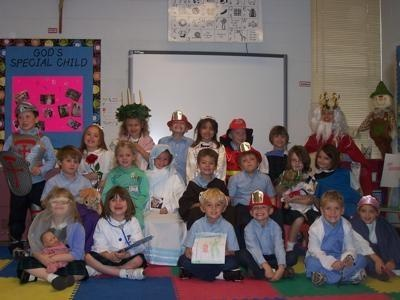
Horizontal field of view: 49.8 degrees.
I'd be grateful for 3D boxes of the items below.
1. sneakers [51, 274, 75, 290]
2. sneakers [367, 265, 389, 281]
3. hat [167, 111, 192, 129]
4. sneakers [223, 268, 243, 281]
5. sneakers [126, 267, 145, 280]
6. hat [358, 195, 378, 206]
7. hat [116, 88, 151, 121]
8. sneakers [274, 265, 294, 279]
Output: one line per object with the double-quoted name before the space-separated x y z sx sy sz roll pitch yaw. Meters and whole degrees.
"sneakers" -1.120 1.087 3.524 0.076 0.088 0.170 -8 -15 39
"sneakers" 1.574 1.098 3.858 0.088 0.073 0.226 -2 16 -25
"hat" -0.275 -0.373 5.264 0.221 0.104 0.236 3 -20 4
"sneakers" 0.286 1.077 3.762 0.190 0.079 0.080 -6 -7 44
"sneakers" -0.557 1.065 3.713 0.183 0.072 0.080 -2 7 31
"hat" 1.617 0.473 4.135 0.107 0.074 0.111 5 4 16
"hat" -0.798 -0.562 5.070 0.481 0.517 0.293 -3 -13 -9
"sneakers" 0.737 1.043 3.770 0.126 0.059 0.130 0 1 6
